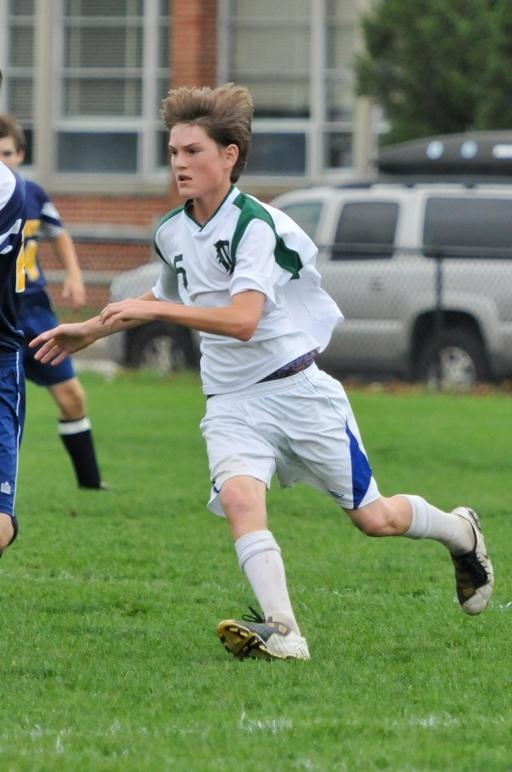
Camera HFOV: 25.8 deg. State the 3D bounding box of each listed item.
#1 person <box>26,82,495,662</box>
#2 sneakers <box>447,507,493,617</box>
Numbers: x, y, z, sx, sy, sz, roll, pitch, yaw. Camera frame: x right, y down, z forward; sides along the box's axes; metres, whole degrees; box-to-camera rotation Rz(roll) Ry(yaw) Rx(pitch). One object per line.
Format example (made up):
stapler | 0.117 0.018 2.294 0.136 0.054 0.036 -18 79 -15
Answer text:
person | 0.038 -0.061 3.058 1.263 1.550 0.448 1 4 -12
sneakers | 0.643 0.541 3.433 0.112 0.329 0.135 -22 -20 29
